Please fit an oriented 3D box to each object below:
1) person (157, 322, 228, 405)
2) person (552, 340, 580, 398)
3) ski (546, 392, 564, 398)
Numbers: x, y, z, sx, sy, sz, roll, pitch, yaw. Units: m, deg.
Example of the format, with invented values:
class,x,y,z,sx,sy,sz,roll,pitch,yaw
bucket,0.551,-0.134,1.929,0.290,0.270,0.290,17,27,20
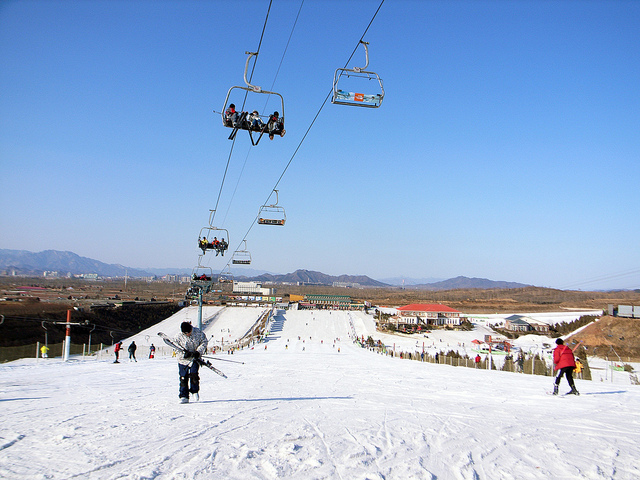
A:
class,x,y,z,sx,sy,sz,roll,pitch,yaw
person,-3.048,2.889,9.838,0.887,1.831,1.209,3,-10,-14
person,7.112,3.706,12.374,0.646,1.586,0.614,0,-18,14
ski,7.002,4.729,12.680,0.136,0.080,0.459,-6,-3,-18
